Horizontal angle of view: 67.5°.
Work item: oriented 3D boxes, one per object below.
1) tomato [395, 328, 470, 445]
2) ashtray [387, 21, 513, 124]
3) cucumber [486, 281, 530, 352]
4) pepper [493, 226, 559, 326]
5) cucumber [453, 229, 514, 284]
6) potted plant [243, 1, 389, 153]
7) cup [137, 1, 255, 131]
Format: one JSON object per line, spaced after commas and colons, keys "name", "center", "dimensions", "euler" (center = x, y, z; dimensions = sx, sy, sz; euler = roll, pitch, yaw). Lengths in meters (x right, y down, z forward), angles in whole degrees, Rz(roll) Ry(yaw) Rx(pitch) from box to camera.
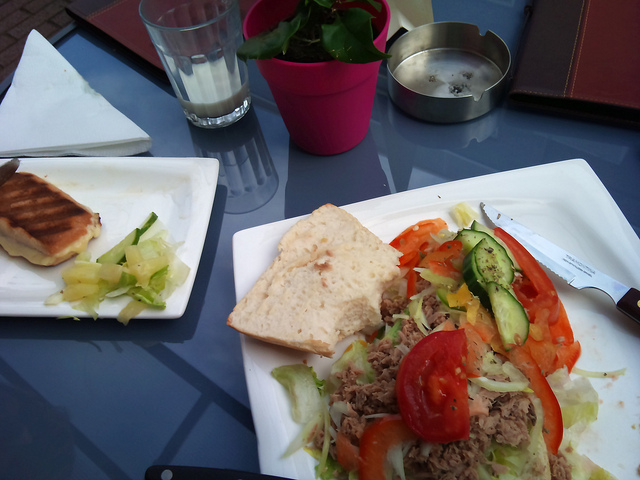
{"name": "tomato", "center": [0.311, 0.402, 1.300], "dimensions": [0.219, 0.083, 0.404], "euler": [-1, 67, 11]}
{"name": "ashtray", "center": [0.524, -0.682, 1.939], "dimensions": [0.505, 0.183, 0.373], "euler": [8, 70, 8]}
{"name": "cucumber", "center": [0.559, 0.220, 1.408], "dimensions": [0.088, 0.060, 0.217], "euler": [-8, 79, 16]}
{"name": "pepper", "center": [0.670, 0.112, 1.563], "dimensions": [0.136, 0.063, 0.291], "euler": [-40, 54, 27]}
{"name": "cucumber", "center": [0.521, 0.014, 1.546], "dimensions": [0.193, 0.148, 0.131], "euler": [-10, 25, -26]}
{"name": "potted plant", "center": [-0.003, -0.602, 1.700], "dimensions": [0.441, 0.500, 0.428], "euler": [-33, 56, -21]}
{"name": "cup", "center": [-0.416, -0.793, 2.068], "dimensions": [0.427, 0.554, 0.494], "euler": [-5, 50, 2]}
